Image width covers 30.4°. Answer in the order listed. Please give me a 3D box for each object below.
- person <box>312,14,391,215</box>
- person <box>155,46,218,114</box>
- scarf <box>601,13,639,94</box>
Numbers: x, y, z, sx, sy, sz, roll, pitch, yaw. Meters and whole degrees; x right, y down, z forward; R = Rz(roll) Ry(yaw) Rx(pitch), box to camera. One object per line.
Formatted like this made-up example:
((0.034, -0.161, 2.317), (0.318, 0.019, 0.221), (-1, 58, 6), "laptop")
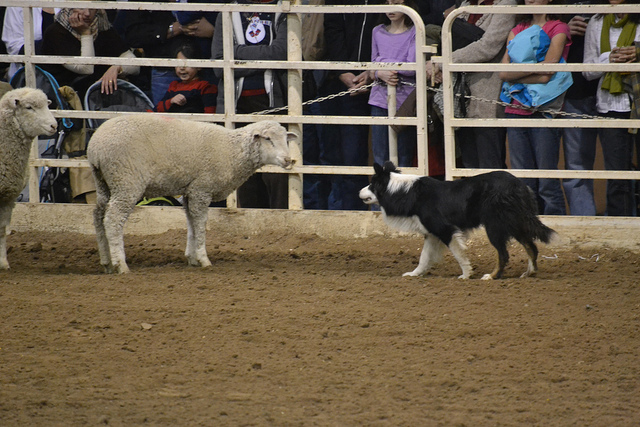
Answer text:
((0.442, -1.484, 17.918), (0.887, 3.312, 0.881), (14, 23, 40), "person")
((-1.952, -1.917, 17.648), (0.970, 1.099, 0.666), (-1, -2, 21), "person")
((4.142, -2.218, 16.332), (0.486, 1.095, 0.181), (1, 7, 13), "scarf")
